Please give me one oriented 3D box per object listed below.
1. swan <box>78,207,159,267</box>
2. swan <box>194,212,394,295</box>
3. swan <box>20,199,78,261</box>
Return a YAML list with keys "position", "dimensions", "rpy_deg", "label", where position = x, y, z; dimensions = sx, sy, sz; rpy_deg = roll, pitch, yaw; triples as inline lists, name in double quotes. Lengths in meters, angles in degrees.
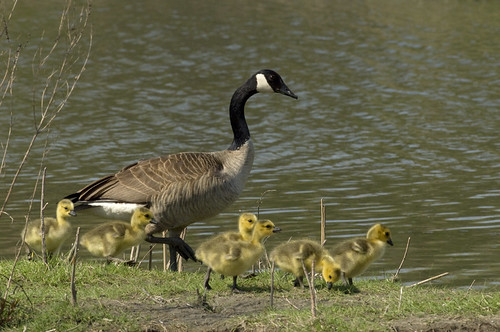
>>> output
- position: [-3.465, 1.768, 18.505]
  dimensions: [2.575, 1.335, 1.069]
  rpy_deg: [1, -1, -7]
  label: "swan"
- position: [1.012, 2.002, 18.237]
  dimensions: [5.611, 1.726, 1.718]
  rpy_deg: [1, 7, -4]
  label: "swan"
- position: [-5.164, 1.599, 18.539]
  dimensions: [1.202, 1.427, 0.876]
  rpy_deg: [-4, 16, -31]
  label: "swan"
